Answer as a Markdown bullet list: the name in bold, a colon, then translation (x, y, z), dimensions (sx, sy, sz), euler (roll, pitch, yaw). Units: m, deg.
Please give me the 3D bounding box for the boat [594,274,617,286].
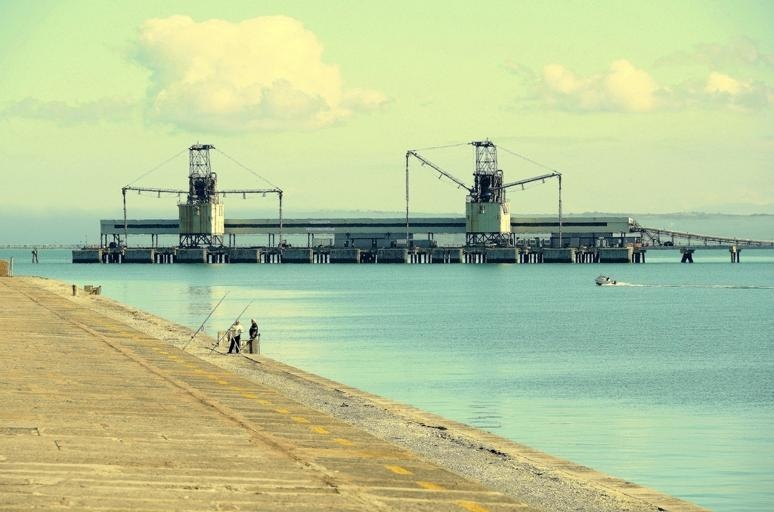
- **boat**: translation (25.369, 3.026, 183.325), dimensions (1.590, 0.998, 3.104), euler (1, -7, 32)
